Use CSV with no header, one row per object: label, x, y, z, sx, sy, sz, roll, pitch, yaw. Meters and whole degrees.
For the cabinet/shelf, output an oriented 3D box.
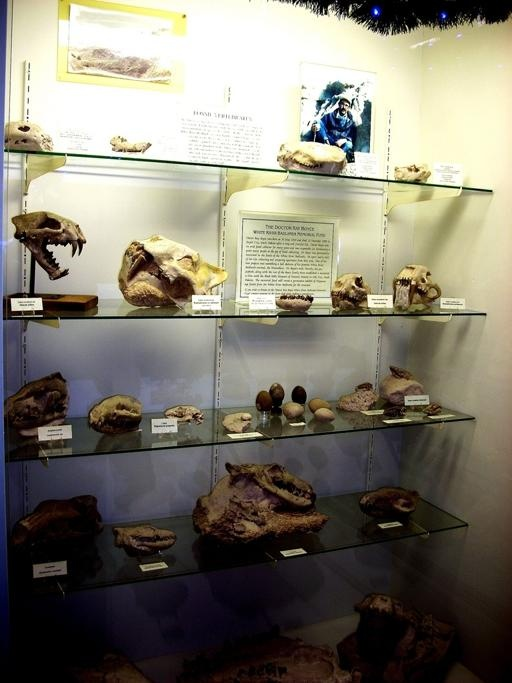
cabinet/shelf,-0.041,0.106,2.008,1.867,1.311,0.577,-2,6,-18
